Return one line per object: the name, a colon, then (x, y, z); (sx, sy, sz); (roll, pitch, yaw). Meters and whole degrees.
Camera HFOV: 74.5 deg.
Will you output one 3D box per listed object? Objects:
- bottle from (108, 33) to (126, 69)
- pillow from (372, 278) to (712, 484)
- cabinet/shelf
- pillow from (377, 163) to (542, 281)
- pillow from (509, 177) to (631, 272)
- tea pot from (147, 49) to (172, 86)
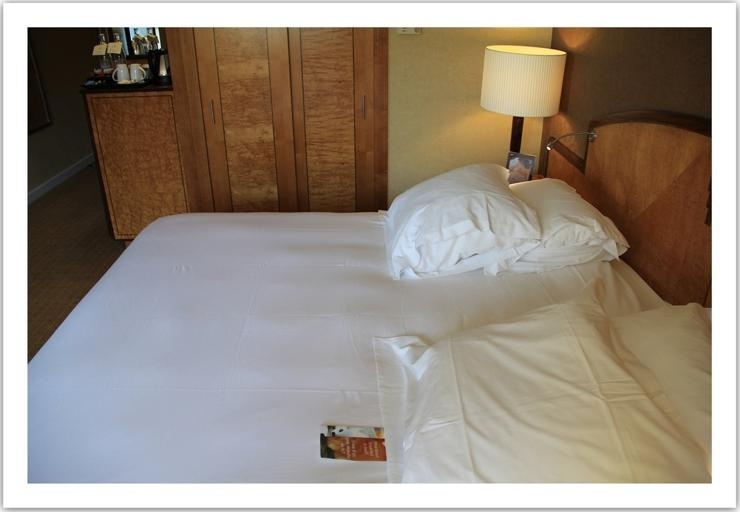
bottle: (-1.864, -1.466, 3.557); (0.121, 0.321, 0.112); (6, 13, -1)
pillow: (0.476, 0.399, 1.330); (0.669, 0.141, 0.654); (-14, 43, 19)
cabinet/shelf: (-0.836, -0.801, 3.229); (1.624, 1.552, 0.506); (0, 28, -3)
pillow: (0.453, -0.049, 2.309); (0.586, 0.181, 0.547); (-23, 40, 5)
pillow: (0.866, -0.113, 2.191); (0.437, 0.135, 0.432); (-7, 42, -4)
tea pot: (-1.467, -1.335, 3.405); (0.205, 0.224, 0.127); (2, 24, 1)
